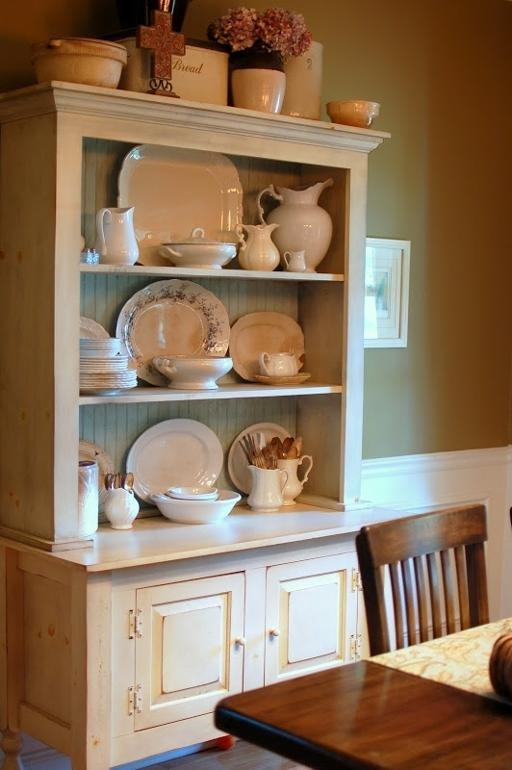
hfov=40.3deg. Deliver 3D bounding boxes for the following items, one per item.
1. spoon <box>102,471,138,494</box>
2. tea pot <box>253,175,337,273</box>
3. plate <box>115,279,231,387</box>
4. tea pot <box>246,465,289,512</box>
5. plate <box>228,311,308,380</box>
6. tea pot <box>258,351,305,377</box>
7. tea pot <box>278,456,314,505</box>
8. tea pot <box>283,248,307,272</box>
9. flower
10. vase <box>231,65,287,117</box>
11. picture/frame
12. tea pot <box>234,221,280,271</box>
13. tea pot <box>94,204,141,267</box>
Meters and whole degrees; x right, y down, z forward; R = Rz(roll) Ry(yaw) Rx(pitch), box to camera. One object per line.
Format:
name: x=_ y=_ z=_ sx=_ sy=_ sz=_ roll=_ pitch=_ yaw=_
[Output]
spoon: x=-0.427 y=0.310 z=2.208 sx=0.074 sy=0.053 sz=0.058 roll=0 pitch=-3 yaw=-10
tea pot: x=0.145 y=-0.591 z=2.620 sx=0.295 sy=0.338 sz=0.256 roll=0 pitch=10 yaw=5
plate: x=-0.229 y=-0.179 z=2.337 sx=0.355 sy=0.364 sz=0.051 roll=3 pitch=6 yaw=-38
tea pot: x=0.036 y=0.373 z=2.479 sx=0.169 sy=0.165 sz=0.119 roll=5 pitch=-6 yaw=-30
plate: x=0.036 y=-0.153 z=2.670 sx=0.255 sy=0.279 sz=0.040 roll=-3 pitch=3 yaw=-34
tea pot: x=0.083 y=-0.084 z=2.566 sx=0.123 sy=0.085 sz=0.093 roll=-2 pitch=7 yaw=-27
tea pot: x=0.146 y=0.357 z=2.604 sx=0.177 sy=0.209 sz=0.109 roll=-3 pitch=3 yaw=-44
tea pot: x=0.141 y=-0.455 z=2.475 sx=0.089 sy=0.087 sz=0.063 roll=0 pitch=7 yaw=4
flower: x=0.024 y=-1.119 z=2.238 sx=0.256 sy=0.146 sz=0.216 roll=-2 pitch=7 yaw=-8
vase: x=0.003 y=-0.970 z=2.355 sx=0.176 sy=0.185 sz=0.178 roll=8 pitch=14 yaw=26
picture/frame: x=0.529 y=-0.400 z=2.966 sx=0.028 sy=0.465 sz=0.404 roll=7 pitch=9 yaw=41
tea pot: x=0.005 y=-0.476 z=2.413 sx=0.174 sy=0.180 sz=0.141 roll=-3 pitch=11 yaw=-17
tea pot: x=-0.409 y=-0.444 z=2.063 sx=0.122 sy=0.188 sz=0.173 roll=5 pitch=10 yaw=17
